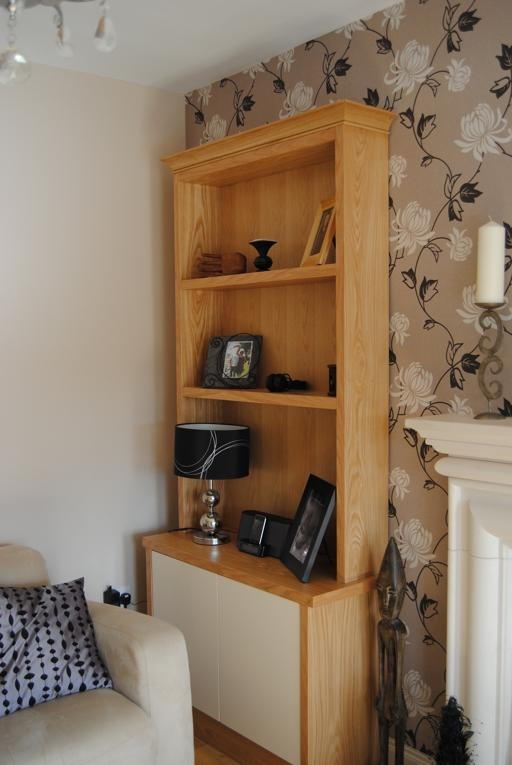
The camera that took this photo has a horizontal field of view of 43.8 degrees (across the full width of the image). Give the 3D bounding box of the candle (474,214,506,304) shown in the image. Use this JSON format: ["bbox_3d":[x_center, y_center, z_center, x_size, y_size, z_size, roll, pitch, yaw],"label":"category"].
[{"bbox_3d":[0.591,-0.293,1.599,0.065,0.140,0.069,2,1,19],"label":"candle"}]

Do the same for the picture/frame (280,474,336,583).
[{"bbox_3d":[0.185,0.505,2.168,0.026,0.265,0.229,20,21,-9],"label":"picture/frame"}]

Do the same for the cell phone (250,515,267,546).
[{"bbox_3d":[0.011,0.555,2.378,0.013,0.144,0.081,13,-14,-29],"label":"cell phone"}]

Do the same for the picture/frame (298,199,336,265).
[{"bbox_3d":[0.221,-0.512,2.181,0.088,0.244,0.240,1,1,-11],"label":"picture/frame"}]

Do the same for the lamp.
[{"bbox_3d":[-0.161,0.401,2.554,0.293,0.487,0.289,6,4,6],"label":"lamp"}]
